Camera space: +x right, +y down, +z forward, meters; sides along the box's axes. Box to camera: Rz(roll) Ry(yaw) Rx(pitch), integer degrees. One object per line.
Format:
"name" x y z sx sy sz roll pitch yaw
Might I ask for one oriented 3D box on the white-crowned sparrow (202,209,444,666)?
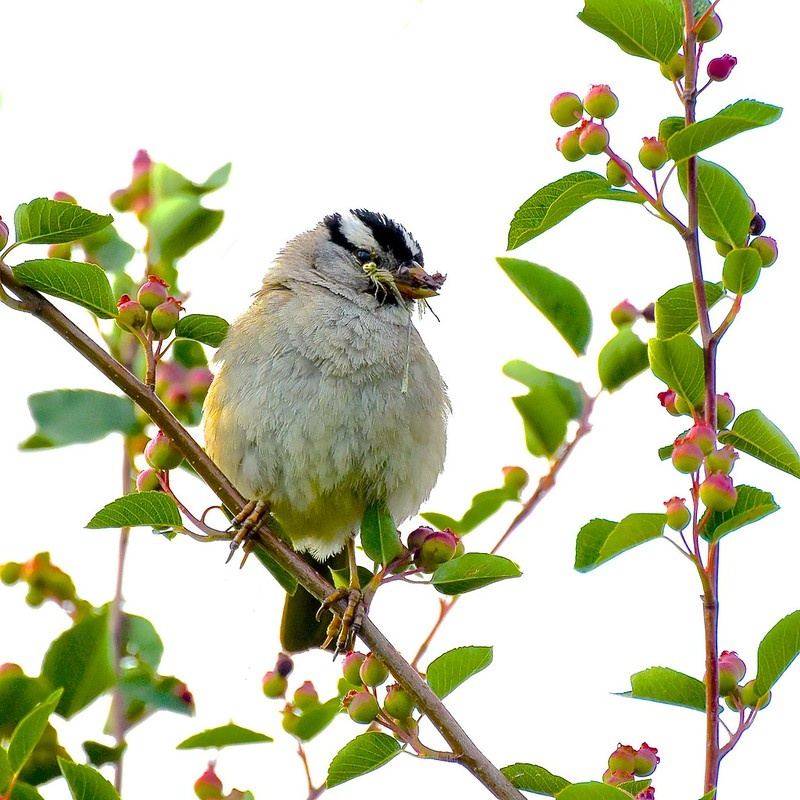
"white-crowned sparrow" -0.210 0.029 4.018 0.551 0.790 1.456 1 -88 -8
